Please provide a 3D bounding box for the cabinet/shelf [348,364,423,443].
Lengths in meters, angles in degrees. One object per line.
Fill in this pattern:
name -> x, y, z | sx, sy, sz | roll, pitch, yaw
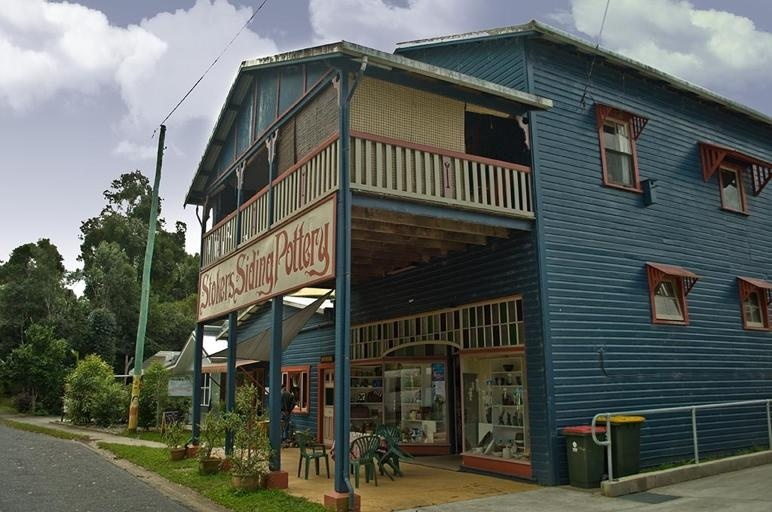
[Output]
cabinet/shelf -> 0.080, 4.510, 20.375 | 2.669, 2.608, 0.895 | -8, -15, 39

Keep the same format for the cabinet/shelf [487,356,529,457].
cabinet/shelf -> 3.262, 3.992, 17.753 | 0.376, 2.607, 1.327 | 10, -18, -29

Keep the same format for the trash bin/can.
trash bin/can -> 5.387, 4.843, 17.021 | 1.896, 1.687, 1.375 | 2, -9, -16
